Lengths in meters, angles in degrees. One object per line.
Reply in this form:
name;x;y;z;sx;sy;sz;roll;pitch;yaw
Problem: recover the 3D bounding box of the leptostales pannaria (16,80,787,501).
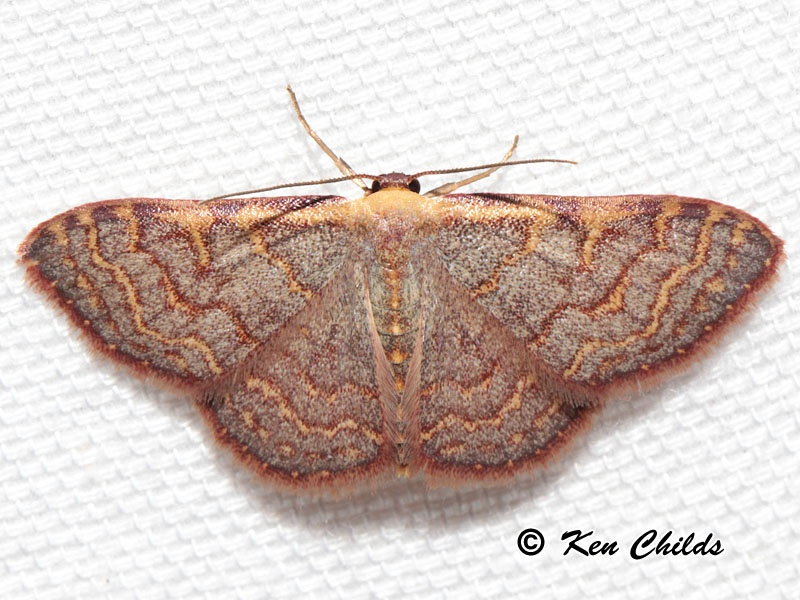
leptostales pannaria;0.006;0.085;5.411;3.034;0.319;1.330;-1;85;1
